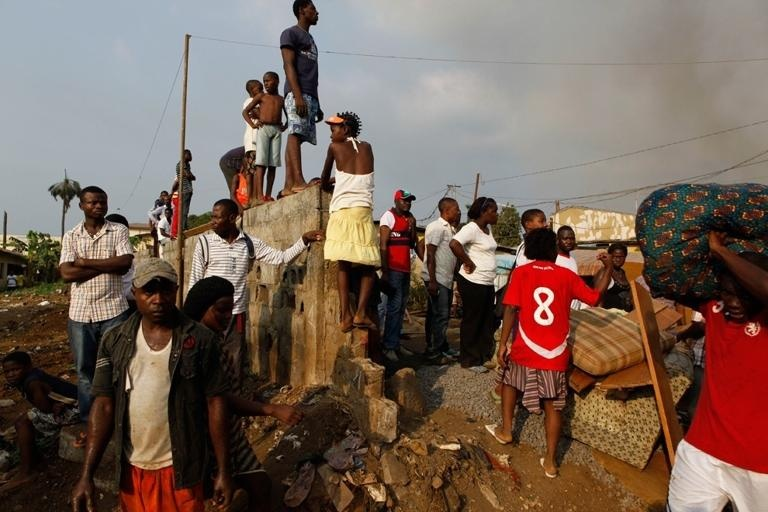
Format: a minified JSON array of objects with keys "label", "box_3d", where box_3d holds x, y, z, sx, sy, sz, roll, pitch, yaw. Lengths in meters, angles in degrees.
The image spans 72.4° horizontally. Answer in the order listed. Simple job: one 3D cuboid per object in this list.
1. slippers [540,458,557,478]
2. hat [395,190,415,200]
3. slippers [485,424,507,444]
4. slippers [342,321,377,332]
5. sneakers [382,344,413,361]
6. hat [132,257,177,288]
[{"label":"slippers","box_3d":[1.740,2.251,5.560,0.086,0.094,0.225,1,13,-6]},{"label":"hat","box_3d":[0.264,-0.829,7.025,0.218,0.127,0.348,1,1,5]},{"label":"slippers","box_3d":[1.252,2.013,5.914,0.103,0.078,0.256,20,12,-41]},{"label":"slippers","box_3d":[-0.281,0.795,5.975,0.358,0.153,0.153,-3,-3,6]},{"label":"sneakers","box_3d":[0.156,1.452,7.771,0.517,0.232,0.178,-8,-6,38]},{"label":"hat","box_3d":[-1.832,0.151,4.135,0.223,0.156,0.306,1,-11,-25]}]
